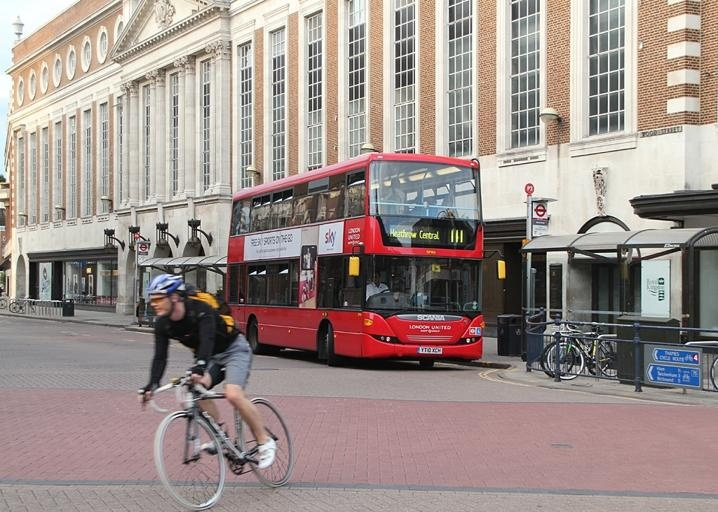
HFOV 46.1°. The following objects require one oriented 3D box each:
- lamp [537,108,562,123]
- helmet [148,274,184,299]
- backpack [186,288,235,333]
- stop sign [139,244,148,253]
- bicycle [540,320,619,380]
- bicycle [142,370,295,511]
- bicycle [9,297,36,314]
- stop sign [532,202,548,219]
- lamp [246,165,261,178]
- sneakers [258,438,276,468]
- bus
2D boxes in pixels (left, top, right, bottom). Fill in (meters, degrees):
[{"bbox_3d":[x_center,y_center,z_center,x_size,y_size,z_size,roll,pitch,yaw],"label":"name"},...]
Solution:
[{"bbox_3d":[6.147,-4.476,27.109,0.593,0.373,0.708,-2,-6,33],"label":"lamp"},{"bbox_3d":[-2.074,0.325,9.204,0.385,0.260,0.397,1,-6,-13],"label":"helmet"},{"bbox_3d":[-1.628,0.612,9.468,0.382,0.538,0.205,-17,7,44],"label":"backpack"},{"bbox_3d":[-10.177,-0.357,40.056,0.410,0.408,0.366,5,3,-27],"label":"stop sign"},{"bbox_3d":[4.736,2.087,17.965,0.765,0.922,1.558,3,-1,-36],"label":"bicycle"},{"bbox_3d":[-1.542,1.998,9.315,1.672,1.488,0.412,5,-7,-42],"label":"bicycle"},{"bbox_3d":[-22.026,3.303,55.496,1.377,1.149,5.139,2,-6,-27],"label":"bicycle"},{"bbox_3d":[4.734,-1.171,22.033,0.534,0.443,0.179,4,-6,-36],"label":"stop sign"},{"bbox_3d":[-5.459,-4.372,43.524,0.552,0.272,0.789,-2,-5,32],"label":"lamp"},{"bbox_3d":[-1.017,2.210,9.374,0.137,0.152,0.379,-37,14,28],"label":"sneakers"},{"bbox_3d":[-1.279,0.299,23.764,3.049,5.355,10.270,4,-7,-42],"label":"bus"}]
